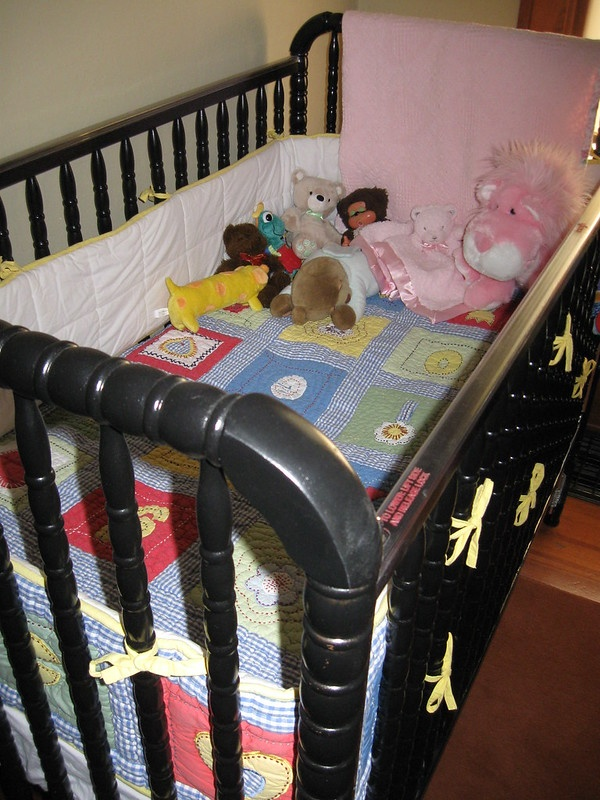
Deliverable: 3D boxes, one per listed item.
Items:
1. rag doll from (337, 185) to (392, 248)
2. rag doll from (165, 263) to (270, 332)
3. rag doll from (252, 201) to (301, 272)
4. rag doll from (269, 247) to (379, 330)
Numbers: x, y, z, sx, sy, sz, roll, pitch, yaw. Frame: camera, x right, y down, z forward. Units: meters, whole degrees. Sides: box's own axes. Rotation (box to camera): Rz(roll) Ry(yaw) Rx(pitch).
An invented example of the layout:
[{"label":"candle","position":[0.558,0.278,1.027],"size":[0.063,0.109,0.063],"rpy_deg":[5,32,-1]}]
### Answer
[{"label":"rag doll","position":[0.210,-0.611,2.207],"size":[0.179,0.186,0.083],"rpy_deg":[-2,14,27]},{"label":"rag doll","position":[-0.269,-0.325,2.025],"size":[0.298,0.157,0.159],"rpy_deg":[-25,61,-34]},{"label":"rag doll","position":[-0.082,-0.537,2.219],"size":[0.088,0.221,0.169],"rpy_deg":[-28,11,30]},{"label":"rag doll","position":[0.080,-0.326,1.963],"size":[0.199,0.123,0.320],"rpy_deg":[12,40,18]}]
